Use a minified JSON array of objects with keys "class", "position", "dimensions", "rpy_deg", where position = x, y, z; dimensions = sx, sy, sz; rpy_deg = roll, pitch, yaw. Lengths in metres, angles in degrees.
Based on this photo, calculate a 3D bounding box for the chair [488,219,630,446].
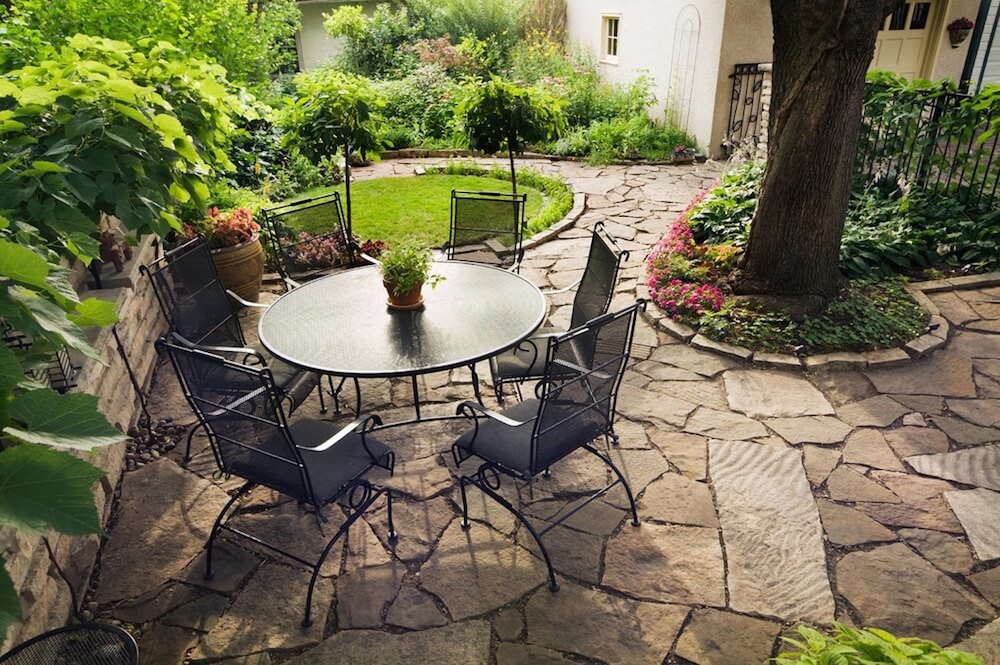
[{"class":"chair","position":[0.345,-0.065,4.974],"dimensions":[1.225,1.355,0.900],"rpy_deg":[-12,31,-13]}]

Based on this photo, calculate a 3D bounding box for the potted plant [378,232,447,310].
[{"class":"potted plant","position":[-0.721,-0.417,4.735],"dimensions":[0.447,0.404,0.360],"rpy_deg":[2,11,16]}]

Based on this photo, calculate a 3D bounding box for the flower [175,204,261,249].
[{"class":"flower","position":[-2.624,-0.977,6.085],"dimensions":[0.725,0.383,0.721],"rpy_deg":[-8,-14,-21]}]

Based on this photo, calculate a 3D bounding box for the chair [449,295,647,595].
[{"class":"chair","position":[0.343,0.588,4.062],"dimensions":[1.145,1.547,0.858],"rpy_deg":[-10,28,-21]}]

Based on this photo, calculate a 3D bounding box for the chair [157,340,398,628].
[{"class":"chair","position":[-1.341,0.747,3.966],"dimensions":[1.256,1.500,0.898],"rpy_deg":[11,28,20]}]

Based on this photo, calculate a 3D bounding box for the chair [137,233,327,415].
[{"class":"chair","position":[-1.986,-0.196,4.655],"dimensions":[0.693,0.817,0.533],"rpy_deg":[-18,19,22]}]
